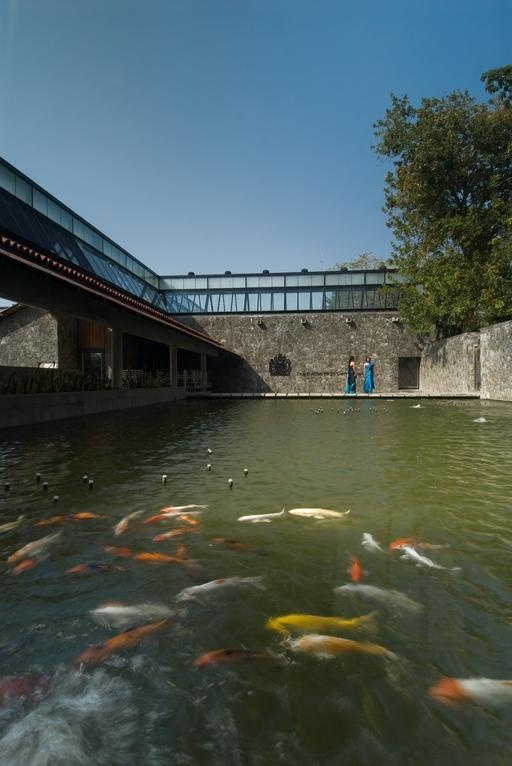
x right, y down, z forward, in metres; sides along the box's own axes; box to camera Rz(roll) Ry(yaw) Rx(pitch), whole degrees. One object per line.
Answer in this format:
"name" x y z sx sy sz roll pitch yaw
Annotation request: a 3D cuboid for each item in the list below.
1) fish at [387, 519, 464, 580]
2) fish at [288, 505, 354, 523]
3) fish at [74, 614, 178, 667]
"fish" 1.072 1.082 3.510 0.471 0.025 0.542 1 2 25
"fish" 0.499 1.050 4.427 0.505 0.031 0.306 0 2 8
"fish" -0.594 1.149 2.445 0.556 0.110 0.151 -21 14 35
